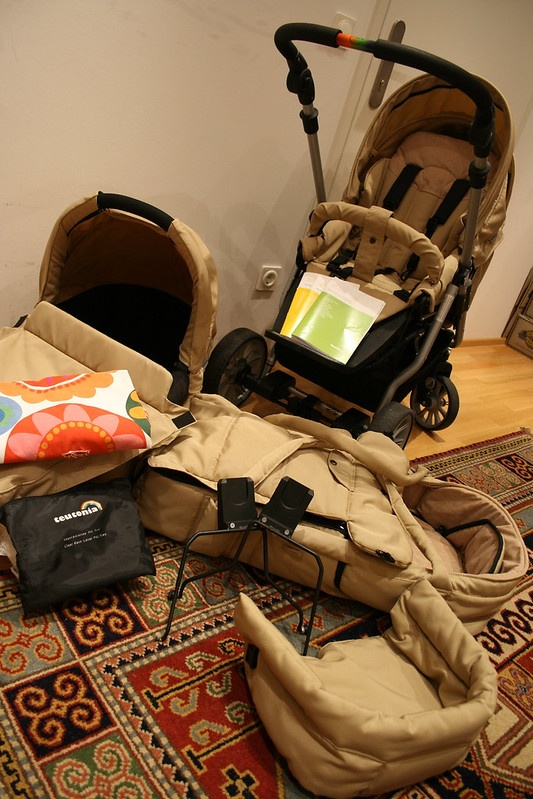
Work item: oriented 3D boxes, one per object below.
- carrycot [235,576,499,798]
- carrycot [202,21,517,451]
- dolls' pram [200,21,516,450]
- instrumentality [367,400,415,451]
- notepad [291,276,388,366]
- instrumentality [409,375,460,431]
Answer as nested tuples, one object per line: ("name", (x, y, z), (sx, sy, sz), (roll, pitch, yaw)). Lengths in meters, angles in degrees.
("carrycot", (0.148, 0.457, 0.975), (0.346, 0.177, 0.361), (-5, 29, -21))
("carrycot", (0.282, -0.430, 1.681), (0.630, 1.110, 0.807), (23, 45, 22))
("dolls' pram", (0.351, -0.422, 1.680), (0.612, 1.134, 0.720), (34, 47, 32))
("instrumentality", (0.342, 0.070, 1.622), (0.046, 0.128, 0.129), (22, 34, 27))
("notepad", (0.180, -0.206, 1.504), (0.197, 0.160, 0.184), (22, 23, 12))
("instrumentality", (0.637, 0.011, 2.151), (0.104, 0.220, 0.186), (12, 10, -20))
